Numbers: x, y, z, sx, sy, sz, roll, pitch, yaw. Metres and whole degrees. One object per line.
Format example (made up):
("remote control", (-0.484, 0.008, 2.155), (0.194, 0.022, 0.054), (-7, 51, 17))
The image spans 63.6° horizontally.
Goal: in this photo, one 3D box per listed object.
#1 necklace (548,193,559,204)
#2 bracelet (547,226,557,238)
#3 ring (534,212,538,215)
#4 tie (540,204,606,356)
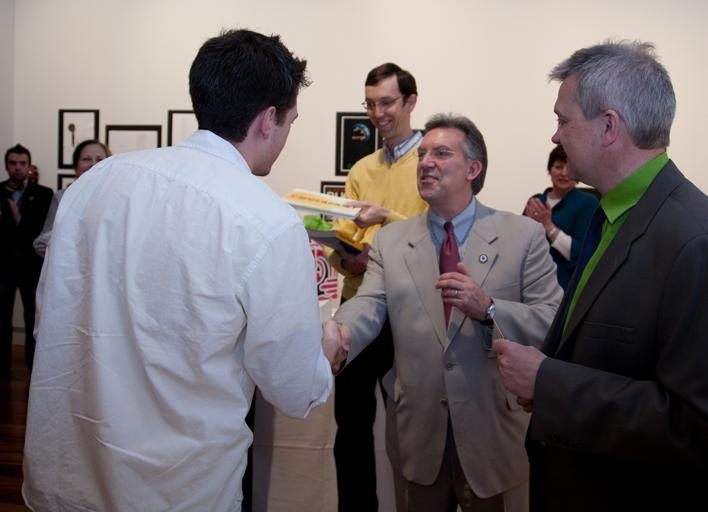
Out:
("necklace", (1.468, -0.410, 4.174), (0.078, 0.068, 0.046), (5, 1, -2))
("bracelet", (1.331, -0.154, 3.826), (0.015, 0.062, 0.059), (26, -13, -32))
("ring", (1.249, -0.286, 3.898), (0.019, 0.022, 0.005), (-1, -7, 10))
("tie", (0.779, -0.027, 1.956), (0.118, 0.728, 0.092), (18, -23, 14))
